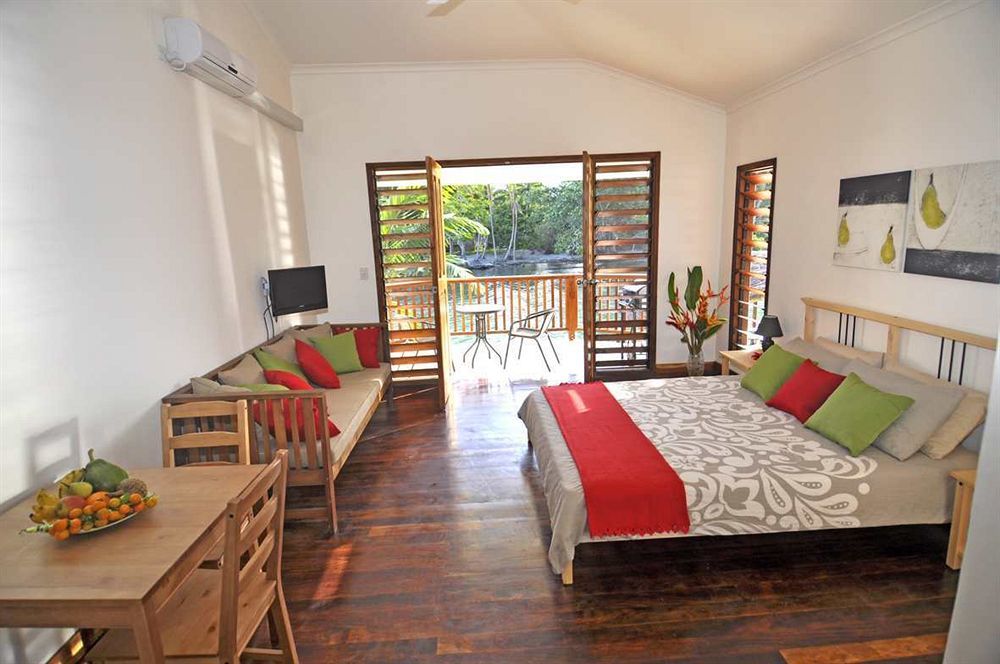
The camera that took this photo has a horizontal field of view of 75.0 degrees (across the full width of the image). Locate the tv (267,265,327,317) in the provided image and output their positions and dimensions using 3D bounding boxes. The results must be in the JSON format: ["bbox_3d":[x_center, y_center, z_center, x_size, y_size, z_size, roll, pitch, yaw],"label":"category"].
[{"bbox_3d":[-1.962,-0.401,6.227,0.056,0.375,0.534,-1,6,36],"label":"tv"}]

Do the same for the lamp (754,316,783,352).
[{"bbox_3d":[2.527,0.009,6.074,0.244,0.372,0.245,-14,22,-30],"label":"lamp"}]

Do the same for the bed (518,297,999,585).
[{"bbox_3d":[1.741,0.816,4.550,2.288,1.013,2.214,-1,16,3],"label":"bed"}]

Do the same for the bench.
[{"bbox_3d":[-1.633,0.727,4.699,0.601,0.596,1.517,-1,17,-5],"label":"bench"}]

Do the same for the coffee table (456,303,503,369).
[{"bbox_3d":[-0.267,0.023,8.824,0.863,0.910,0.836,-2,7,-6],"label":"coffee table"}]

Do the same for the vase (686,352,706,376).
[{"bbox_3d":[2.170,0.356,7.306,0.246,0.307,0.232,-1,7,6],"label":"vase"}]
